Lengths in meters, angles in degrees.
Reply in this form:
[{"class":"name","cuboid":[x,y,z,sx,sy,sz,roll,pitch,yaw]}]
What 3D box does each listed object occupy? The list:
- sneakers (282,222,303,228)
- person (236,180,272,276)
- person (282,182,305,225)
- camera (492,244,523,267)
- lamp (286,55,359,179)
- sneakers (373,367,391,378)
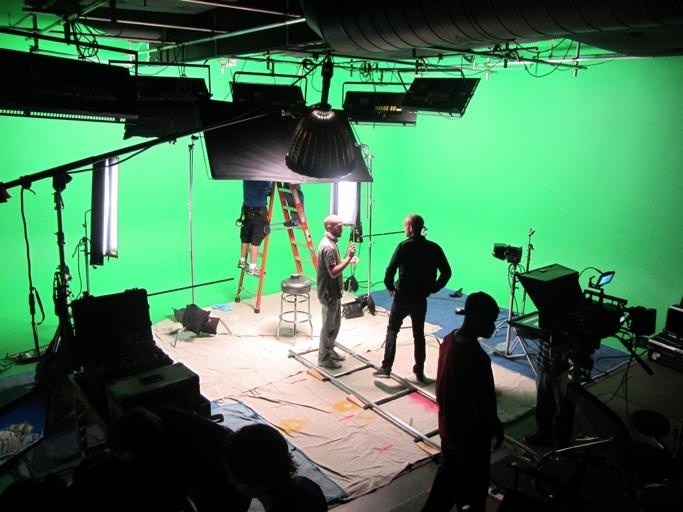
[{"class":"sneakers","cuboid":[-0.726,-0.480,7.637,0.154,0.051,0.206,0,0,-39]},{"class":"person","cuboid":[-1.320,-0.421,7.756,0.455,1.450,0.601,1,10,-12]},{"class":"person","cuboid":[-0.751,-0.795,7.791,0.287,0.631,0.817,2,9,-6]},{"class":"camera","cuboid":[2.056,-0.022,6.430,0.399,0.245,0.227,9,11,7]},{"class":"lamp","cuboid":[-0.126,-0.922,3.433,0.460,0.788,0.395,2,10,-1]},{"class":"sneakers","cuboid":[0.484,1.365,5.990,0.098,0.105,0.235,-12,19,-32]}]
